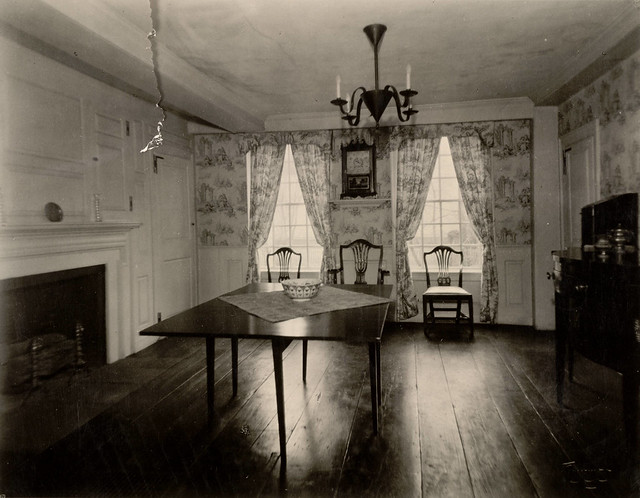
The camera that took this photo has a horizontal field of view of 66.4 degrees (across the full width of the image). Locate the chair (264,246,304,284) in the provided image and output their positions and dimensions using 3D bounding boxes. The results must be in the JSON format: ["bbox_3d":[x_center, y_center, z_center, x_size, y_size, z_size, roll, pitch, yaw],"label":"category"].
[{"bbox_3d":[-0.394,0.153,5.243,0.341,0.690,0.401,0,0,2],"label":"chair"}]

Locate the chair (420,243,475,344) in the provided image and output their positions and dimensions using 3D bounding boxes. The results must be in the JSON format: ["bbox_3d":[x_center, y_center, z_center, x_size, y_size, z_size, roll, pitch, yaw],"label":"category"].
[{"bbox_3d":[1.258,0.384,4.809,0.500,0.805,0.793,2,11,12],"label":"chair"}]

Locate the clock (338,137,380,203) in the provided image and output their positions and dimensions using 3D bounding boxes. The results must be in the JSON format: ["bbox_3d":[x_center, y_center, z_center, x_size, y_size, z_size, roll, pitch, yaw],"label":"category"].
[{"bbox_3d":[0.408,-0.852,5.201,0.361,0.726,0.064,0,39,6],"label":"clock"}]

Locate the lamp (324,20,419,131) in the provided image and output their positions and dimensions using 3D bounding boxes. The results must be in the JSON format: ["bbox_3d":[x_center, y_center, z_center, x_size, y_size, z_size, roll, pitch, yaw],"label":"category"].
[{"bbox_3d":[0.363,-1.157,3.224,0.507,0.687,0.568,-4,5,-5],"label":"lamp"}]

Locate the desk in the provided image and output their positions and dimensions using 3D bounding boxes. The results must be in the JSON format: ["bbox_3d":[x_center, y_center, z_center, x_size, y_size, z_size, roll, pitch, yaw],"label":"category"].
[{"bbox_3d":[-0.199,0.694,2.997,1.198,0.768,1.157,2,11,14],"label":"desk"}]

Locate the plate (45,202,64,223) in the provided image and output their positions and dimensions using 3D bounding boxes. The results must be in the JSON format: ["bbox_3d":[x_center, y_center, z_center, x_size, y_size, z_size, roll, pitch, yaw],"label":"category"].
[{"bbox_3d":[-1.764,-0.253,3.230,0.048,0.136,0.111,2,11,13],"label":"plate"}]
